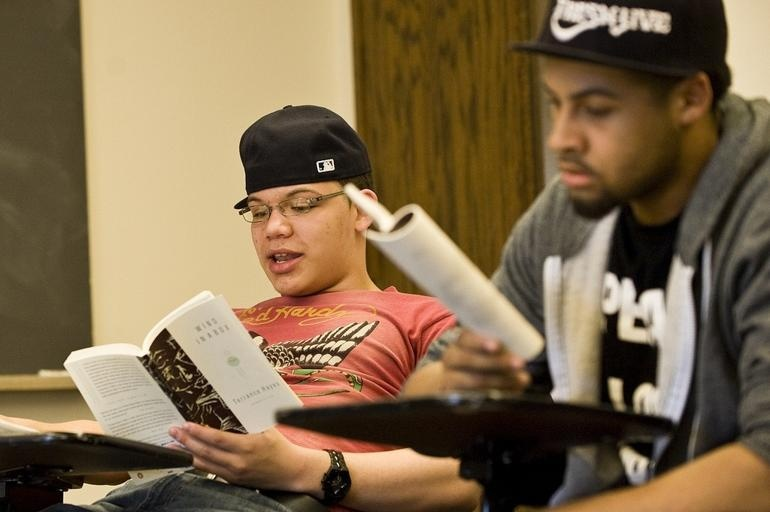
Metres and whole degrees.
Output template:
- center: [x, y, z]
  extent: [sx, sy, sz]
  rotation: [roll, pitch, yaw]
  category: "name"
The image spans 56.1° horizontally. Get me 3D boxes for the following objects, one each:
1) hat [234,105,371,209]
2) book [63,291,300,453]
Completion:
- center: [-0.267, -0.334, 2.326]
  extent: [0.364, 0.187, 0.279]
  rotation: [-20, 7, -24]
  category: "hat"
- center: [-0.375, 0.251, 1.710]
  extent: [0.576, 0.371, 0.190]
  rotation: [-22, 24, 31]
  category: "book"
